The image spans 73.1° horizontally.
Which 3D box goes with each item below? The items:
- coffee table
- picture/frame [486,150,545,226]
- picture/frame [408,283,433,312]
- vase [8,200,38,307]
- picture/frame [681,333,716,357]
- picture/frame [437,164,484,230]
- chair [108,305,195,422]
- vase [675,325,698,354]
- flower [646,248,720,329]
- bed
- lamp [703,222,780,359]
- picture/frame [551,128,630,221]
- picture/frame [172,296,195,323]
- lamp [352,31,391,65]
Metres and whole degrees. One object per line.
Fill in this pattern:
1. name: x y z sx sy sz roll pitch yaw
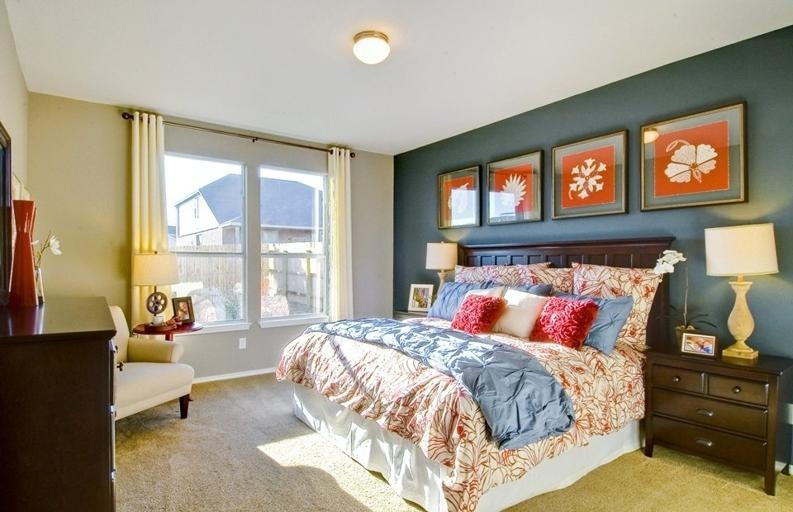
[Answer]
1. coffee table: -2.426 1.086 5.888 0.792 0.860 0.807 0 -4 11
2. picture/frame: 1.418 -0.795 6.219 0.098 0.997 0.924 2 -2 -35
3. picture/frame: 0.333 0.549 7.032 0.024 0.359 0.353 13 -14 -42
4. vase: -2.610 -0.022 3.739 0.169 0.544 0.236 0 0 -34
5. picture/frame: 2.596 0.752 4.593 0.294 0.251 0.163 -2 -9 42
6. picture/frame: 0.846 -0.763 6.850 0.102 0.996 0.862 2 -3 -34
7. chair: -2.370 1.075 5.211 0.702 1.079 1.032 0 0 -29
8. vase: 2.616 0.744 4.853 0.215 0.230 0.222 2 -5 12
9. flower: 2.682 0.294 4.939 0.524 1.061 0.425 -10 9 -7
10. bed: 1.018 1.140 4.921 2.588 1.649 2.598 3 -3 -35
11. lamp: 2.983 0.285 4.568 0.536 1.146 0.420 0 0 -28
12. picture/frame: 2.064 -0.853 5.582 0.092 1.199 1.003 1 -2 -42
13. picture/frame: -2.368 0.598 5.916 0.032 0.334 0.246 -18 -19 38
14. lamp: -0.228 -1.829 4.737 0.065 0.270 0.266 0 -26 43
